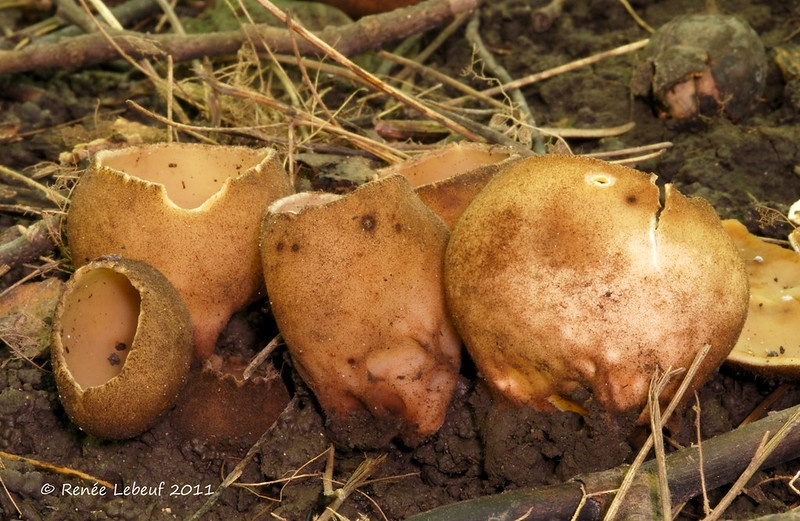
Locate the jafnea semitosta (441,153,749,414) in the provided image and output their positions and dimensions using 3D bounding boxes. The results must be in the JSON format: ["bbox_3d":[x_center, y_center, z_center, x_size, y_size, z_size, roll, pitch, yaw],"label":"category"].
[{"bbox_3d":[0.898,0.048,4.572,1.428,0.989,1.167,-12,29,-18],"label":"jafnea semitosta"}]

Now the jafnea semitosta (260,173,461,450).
[{"bbox_3d":[-0.190,0.302,4.647,1.027,1.380,0.984,-14,12,12],"label":"jafnea semitosta"}]

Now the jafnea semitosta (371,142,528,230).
[{"bbox_3d":[0.351,-0.492,5.495,0.734,0.380,0.847,-26,-11,21],"label":"jafnea semitosta"}]

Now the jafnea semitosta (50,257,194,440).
[{"bbox_3d":[-1.402,0.441,4.784,0.650,0.991,0.723,1,3,-24],"label":"jafnea semitosta"}]

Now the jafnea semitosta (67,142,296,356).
[{"bbox_3d":[-1.134,-0.205,5.182,1.194,1.051,1.245,10,8,38],"label":"jafnea semitosta"}]
